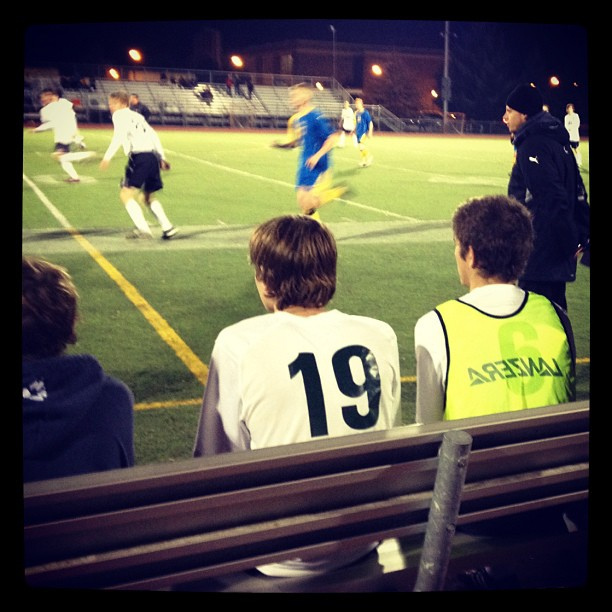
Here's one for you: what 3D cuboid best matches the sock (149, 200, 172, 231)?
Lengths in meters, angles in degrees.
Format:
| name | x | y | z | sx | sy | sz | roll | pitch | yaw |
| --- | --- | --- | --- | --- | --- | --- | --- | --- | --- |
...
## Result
| name | x | y | z | sx | sy | sz | roll | pitch | yaw |
| --- | --- | --- | --- | --- | --- | --- | --- | --- | --- |
| sock | -1.324 | -0.830 | 6.105 | 0.144 | 0.293 | 0.423 | -2 | 14 | -3 |

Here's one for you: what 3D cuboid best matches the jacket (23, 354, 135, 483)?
| name | x | y | z | sx | sy | sz | roll | pitch | yaw |
| --- | --- | --- | --- | --- | --- | --- | --- | --- | --- |
| jacket | -0.650 | 0.299 | 1.906 | 0.299 | 0.324 | 0.220 | -6 | 14 | -19 |

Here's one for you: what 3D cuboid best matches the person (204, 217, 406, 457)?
| name | x | y | z | sx | sy | sz | roll | pitch | yaw |
| --- | --- | --- | --- | --- | --- | --- | --- | --- | --- |
| person | -0.006 | 0.124 | 1.961 | 0.500 | 0.747 | 0.386 | -4 | 7 | -13 |

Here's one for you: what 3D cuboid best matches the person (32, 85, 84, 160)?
| name | x | y | z | sx | sy | sz | roll | pitch | yaw |
| --- | --- | --- | --- | --- | --- | --- | --- | --- | --- |
| person | -2.365 | -1.768 | 6.416 | 0.508 | 0.423 | 0.939 | 7 | -20 | -21 |

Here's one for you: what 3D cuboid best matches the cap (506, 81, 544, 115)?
| name | x | y | z | sx | sy | sz | roll | pitch | yaw |
| --- | --- | --- | --- | --- | --- | --- | --- | --- | --- |
| cap | 1.027 | -0.961 | 3.099 | 0.150 | 0.143 | 0.229 | 0 | 14 | 3 |
